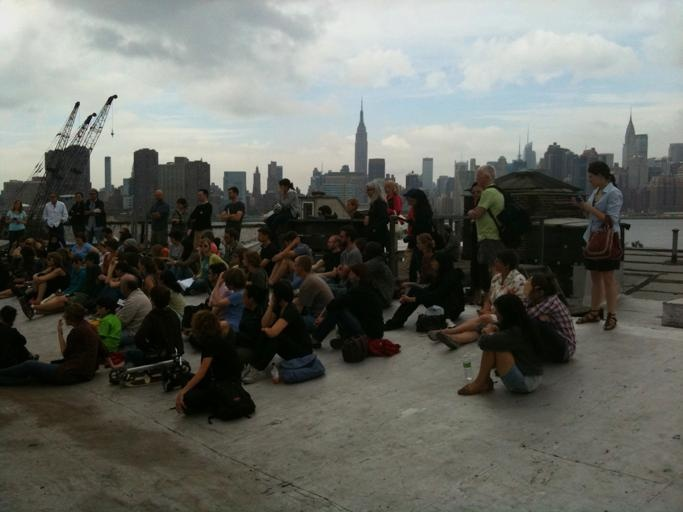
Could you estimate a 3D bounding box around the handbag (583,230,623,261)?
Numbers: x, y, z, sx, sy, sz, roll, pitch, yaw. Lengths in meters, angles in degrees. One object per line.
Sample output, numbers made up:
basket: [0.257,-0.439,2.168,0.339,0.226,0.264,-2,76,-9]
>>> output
handbag: [3.865,-0.160,8.884,0.233,0.583,0.439,-3,7,-39]

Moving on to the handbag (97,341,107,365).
handbag: [-3.786,1.537,9.453,0.127,0.334,0.238,12,8,-26]

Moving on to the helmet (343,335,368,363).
helmet: [0.205,1.416,8.977,0.188,0.328,0.346,8,12,44]

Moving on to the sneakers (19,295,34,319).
sneakers: [-7.178,1.170,13.628,0.164,0.506,0.222,-9,2,-23]

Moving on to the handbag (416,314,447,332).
handbag: [1.442,1.108,9.821,0.369,0.253,0.277,0,9,12]

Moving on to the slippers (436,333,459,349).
slippers: [1.558,1.239,8.799,0.117,0.289,0.107,-45,-8,-42]

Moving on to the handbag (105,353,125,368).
handbag: [-3.606,1.662,9.518,0.156,0.205,0.474,4,-2,-9]
